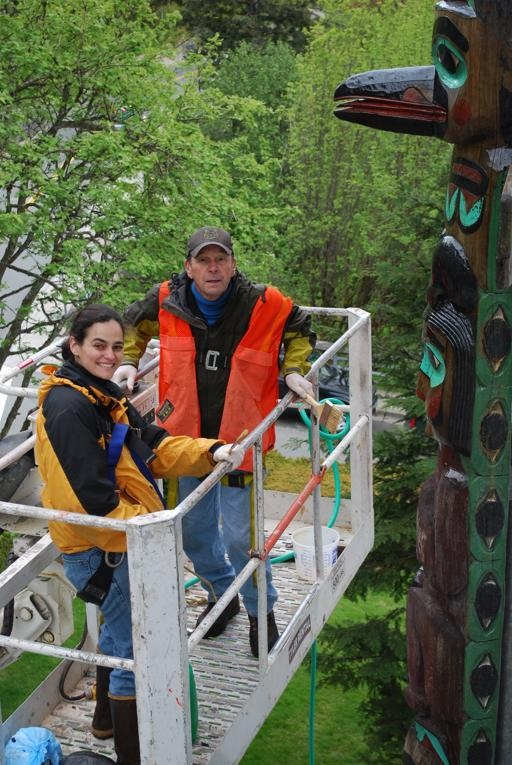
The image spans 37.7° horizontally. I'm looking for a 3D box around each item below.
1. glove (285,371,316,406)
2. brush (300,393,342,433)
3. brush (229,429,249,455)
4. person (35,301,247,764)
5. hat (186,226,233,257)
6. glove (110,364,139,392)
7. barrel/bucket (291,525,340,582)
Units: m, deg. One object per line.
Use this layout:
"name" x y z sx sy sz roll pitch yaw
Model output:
"glove" 0.195 0.019 3.221 0.073 0.085 0.152 -28 26 -14
"brush" 0.261 0.132 3.416 0.238 0.125 0.066 29 37 7
"brush" -0.062 0.216 2.536 0.034 0.145 0.043 24 47 -10
"person" -0.511 0.664 2.646 0.630 1.843 0.706 8 13 23
"hat" -0.197 -0.613 3.284 0.198 0.139 0.233 1 11 -6
"glove" -0.613 -0.013 3.530 0.105 0.132 0.042 25 18 10
"barrel/bucket" 0.351 1.017 4.496 0.292 0.221 0.318 -2 1 0
